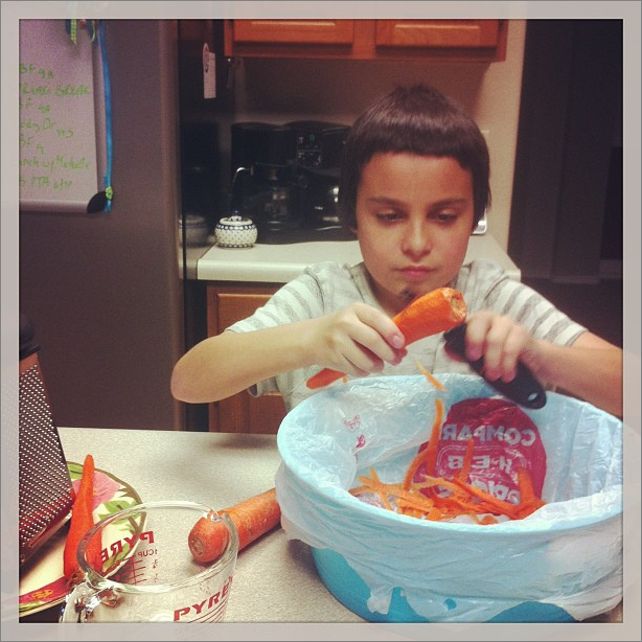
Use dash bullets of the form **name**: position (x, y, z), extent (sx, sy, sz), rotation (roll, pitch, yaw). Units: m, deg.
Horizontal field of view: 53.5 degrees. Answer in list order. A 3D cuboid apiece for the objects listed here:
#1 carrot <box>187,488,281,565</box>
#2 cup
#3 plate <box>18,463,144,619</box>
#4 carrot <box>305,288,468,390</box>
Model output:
- **carrot**: position (-0.065, 0.165, 0.518), extent (0.030, 0.025, 0.098), rotation (8, 6, 31)
- **cup**: position (-0.115, 0.189, 0.503), extent (0.106, 0.064, 0.083), rotation (-26, 43, -34)
- **plate**: position (-0.193, 0.183, 0.534), extent (0.120, 0.096, 0.018), rotation (-1, -33, 12)
- **carrot**: position (0.079, 0.007, 0.585), extent (0.168, 0.044, 0.033), rotation (-22, 17, 48)
